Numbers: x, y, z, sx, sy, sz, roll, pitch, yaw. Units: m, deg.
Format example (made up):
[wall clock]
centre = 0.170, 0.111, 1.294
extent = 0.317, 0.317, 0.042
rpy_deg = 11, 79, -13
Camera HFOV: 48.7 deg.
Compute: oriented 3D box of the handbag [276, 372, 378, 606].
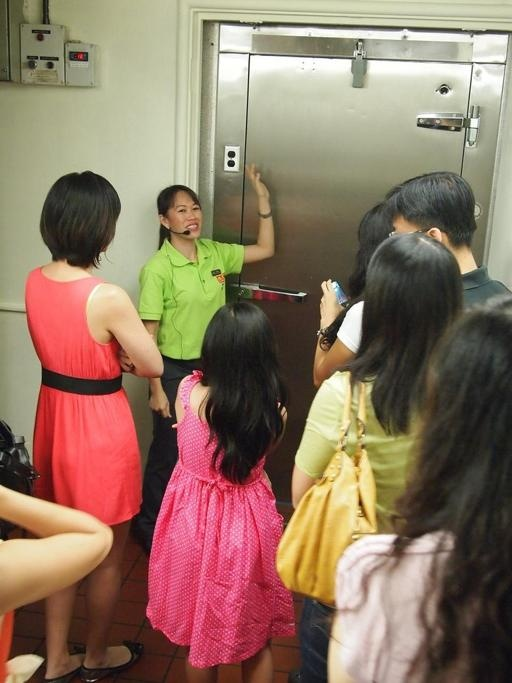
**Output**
[handbag]
centre = 0.173, 0.310, 1.099
extent = 0.175, 0.411, 0.220
rpy_deg = 18, 25, 40
